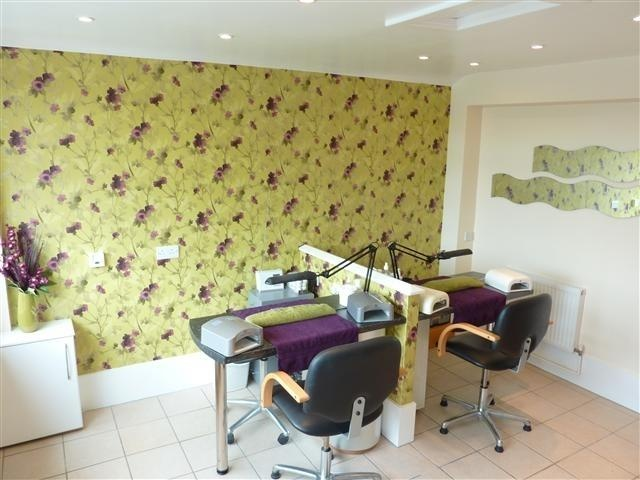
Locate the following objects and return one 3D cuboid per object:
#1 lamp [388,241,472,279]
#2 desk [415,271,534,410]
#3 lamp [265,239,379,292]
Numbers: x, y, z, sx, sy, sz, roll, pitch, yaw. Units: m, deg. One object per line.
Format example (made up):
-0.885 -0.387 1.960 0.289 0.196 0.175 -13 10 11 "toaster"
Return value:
1.147 0.207 4.911 0.753 0.500 0.185 -7 19 -16 "lamp"
1.341 0.874 4.011 1.055 0.666 0.555 -6 11 -28 "desk"
0.052 0.258 4.133 0.822 0.587 1.320 2 9 4 "lamp"
